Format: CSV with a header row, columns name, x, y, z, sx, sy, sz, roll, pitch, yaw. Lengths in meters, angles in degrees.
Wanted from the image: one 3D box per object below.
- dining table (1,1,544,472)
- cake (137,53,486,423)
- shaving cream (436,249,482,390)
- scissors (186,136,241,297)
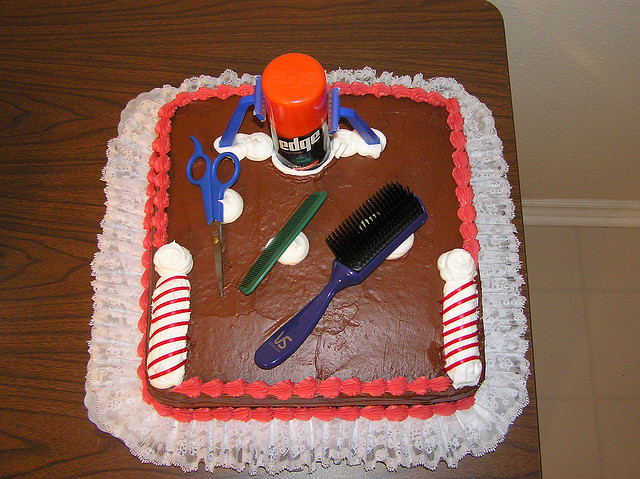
name,x,y,z,sx,sy,sz,roll,pitch,yaw
dining table,-0.261,-0.103,2.075,1.891,0.555,1.708,-1,82,1
cake,-0.037,0.090,2.459,1.373,0.529,1.105,-2,75,-1
shaving cream,0.439,0.245,1.983,0.126,0.058,0.431,-3,82,1
scissors,-0.361,-0.117,2.084,0.214,0.407,0.299,-11,53,-19
